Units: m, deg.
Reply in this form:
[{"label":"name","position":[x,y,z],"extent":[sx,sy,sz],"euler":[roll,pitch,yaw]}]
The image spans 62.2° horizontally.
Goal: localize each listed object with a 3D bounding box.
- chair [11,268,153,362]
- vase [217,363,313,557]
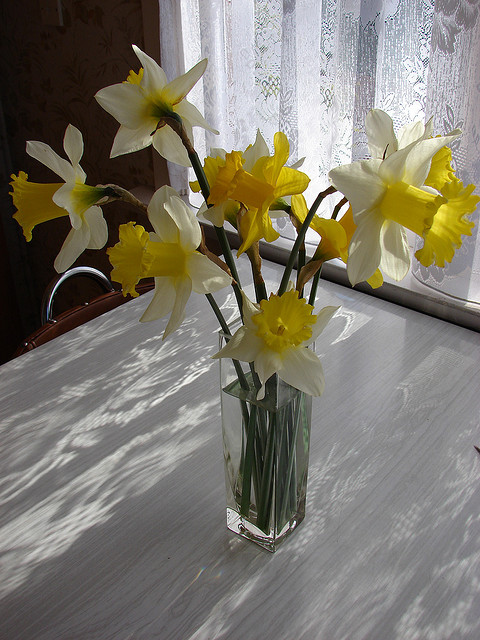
[{"label":"chair","position":[-0.400,-0.039,1.024],"extent":[0.189,0.207,0.258],"euler":[14,6,-21]},{"label":"vase","position":[0.027,0.115,0.388],"extent":[0.073,0.207,0.080],"euler":[3,15,8]}]
